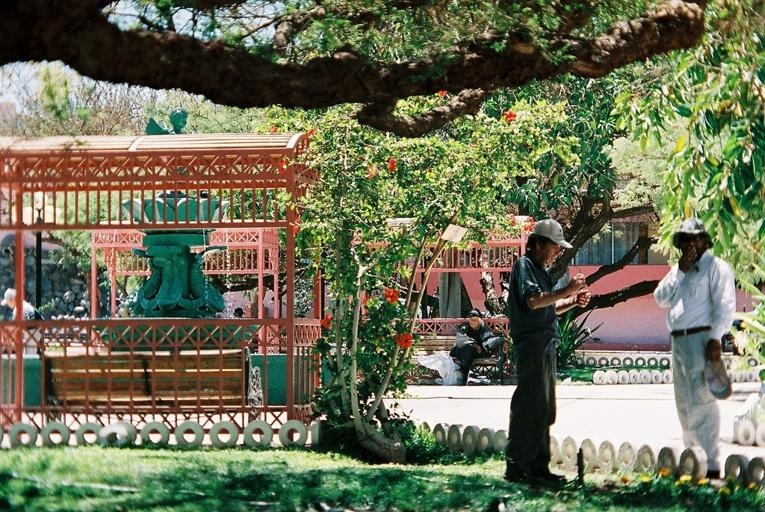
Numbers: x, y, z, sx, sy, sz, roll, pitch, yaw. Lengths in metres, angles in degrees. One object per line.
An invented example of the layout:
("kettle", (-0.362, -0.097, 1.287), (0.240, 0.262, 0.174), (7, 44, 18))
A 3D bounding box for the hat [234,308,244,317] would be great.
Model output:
("hat", (-3.371, 1.290, 33.677), (0.321, 0.246, 0.359), (-1, -5, -3))

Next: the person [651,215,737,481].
("person", (3.842, 1.117, 17.682), (0.892, 3.144, 0.380), (-2, -7, 18))

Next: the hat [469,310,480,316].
("hat", (1.880, 1.175, 29.769), (0.219, 0.071, 0.204), (0, 7, -6))

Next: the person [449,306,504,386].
("person", (1.787, 1.788, 28.751), (1.089, 1.549, 0.829), (8, -6, 2))

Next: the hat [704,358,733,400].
("hat", (4.031, 1.486, 17.475), (0.165, 0.451, 0.340), (-5, -22, -30))

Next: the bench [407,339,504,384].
("bench", (1.542, 2.065, 28.502), (1.634, 0.944, 0.662), (-1, -7, 4))

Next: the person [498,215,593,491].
("person", (1.852, 1.144, 17.522), (0.761, 3.199, 0.741), (0, -6, 2))

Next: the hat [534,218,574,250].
("hat", (2.103, -0.272, 17.746), (0.470, 0.243, 0.307), (18, 11, -2))

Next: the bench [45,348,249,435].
("bench", (-3.398, 1.809, 20.498), (2.881, 0.963, 0.838), (0, -7, -3))
